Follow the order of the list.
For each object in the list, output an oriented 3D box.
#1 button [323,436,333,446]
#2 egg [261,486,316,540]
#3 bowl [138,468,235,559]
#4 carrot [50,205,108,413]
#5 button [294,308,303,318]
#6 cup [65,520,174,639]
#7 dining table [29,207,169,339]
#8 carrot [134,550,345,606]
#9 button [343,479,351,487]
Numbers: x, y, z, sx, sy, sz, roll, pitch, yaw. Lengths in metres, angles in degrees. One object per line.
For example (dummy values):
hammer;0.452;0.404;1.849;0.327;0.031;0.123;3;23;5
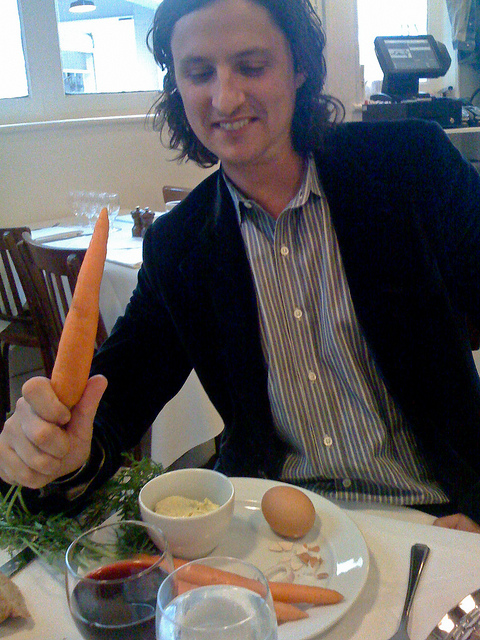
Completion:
button;0.151;0.205;0.945;0.011;0.021;0.003;-2;-4;20
egg;0.056;0.201;0.637;0.043;0.045;0.054;-39;18;-9
bowl;-0.057;0.189;0.618;0.070;0.063;0.086;-3;9;0
carrot;-0.177;-0.013;0.623;0.026;0.207;0.088;7;16;36
button;0.102;-0.012;0.964;0.014;0.014;0.006;-1;13;8
cup;-0.094;0.182;0.450;0.061;0.096;0.072;-9;6;-4
dining table;-0.410;-0.128;1.561;0.248;0.395;0.338;-36;42;-29
carrot;0.005;0.214;0.460;0.192;0.031;0.026;14;4;-8
button;0.178;0.268;0.920;0.009;0.013;0.003;-5;4;-4
